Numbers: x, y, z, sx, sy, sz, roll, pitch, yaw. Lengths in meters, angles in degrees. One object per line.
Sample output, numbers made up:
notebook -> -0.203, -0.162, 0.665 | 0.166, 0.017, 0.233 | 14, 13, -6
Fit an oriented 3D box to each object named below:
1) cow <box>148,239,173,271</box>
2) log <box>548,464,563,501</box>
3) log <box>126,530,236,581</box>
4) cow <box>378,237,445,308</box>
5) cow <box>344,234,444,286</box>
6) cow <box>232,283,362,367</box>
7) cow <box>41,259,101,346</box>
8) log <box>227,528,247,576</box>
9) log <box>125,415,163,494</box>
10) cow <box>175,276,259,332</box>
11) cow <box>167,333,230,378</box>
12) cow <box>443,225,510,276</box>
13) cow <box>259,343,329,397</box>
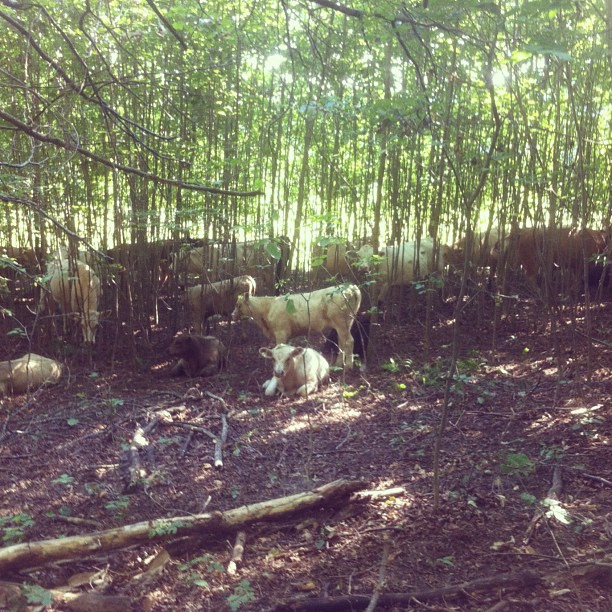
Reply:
cow -> -2.585, -0.940, 13.325 | 0.417, 0.582, 2.254 | -3, 11, -12
log -> 2.076, 1.457, 6.194 | 0.074, 0.077, 0.584 | 0, 20, 20
log -> -0.987, 1.924, 5.755 | 0.447, 0.206, 0.132 | -17, -20, -24
cow -> 1.869, -0.656, 13.206 | 1.160, 1.176, 2.530 | 1, 11, 10
cow -> 1.663, -0.796, 12.813 | 1.387, 1.074, 3.320 | 1, 11, 10
cow -> -0.164, 0.303, 11.142 | 1.893, 1.413, 0.611 | -2, 16, -1
cow -> -3.559, -0.053, 11.709 | 0.711, 1.301, 2.020 | -4, 11, -17
log -> -0.532, 1.903, 5.834 | 0.055, 0.056, 0.355 | 3, 22, 9
log -> -1.583, 1.388, 7.150 | 0.114, 0.108, 1.213 | -3, 20, -6
cow -> -1.512, 0.051, 12.524 | 1.378, 0.923, 0.387 | -2, -5, 27
cow -> -1.483, 0.714, 10.787 | 0.622, 0.637, 1.170 | 0, -1, 29
cow -> 2.835, -1.042, 12.623 | 1.122, 0.862, 3.843 | 2, 11, 14
cow -> -0.118, 0.829, 9.563 | 0.458, 0.485, 0.884 | -3, -10, 16
